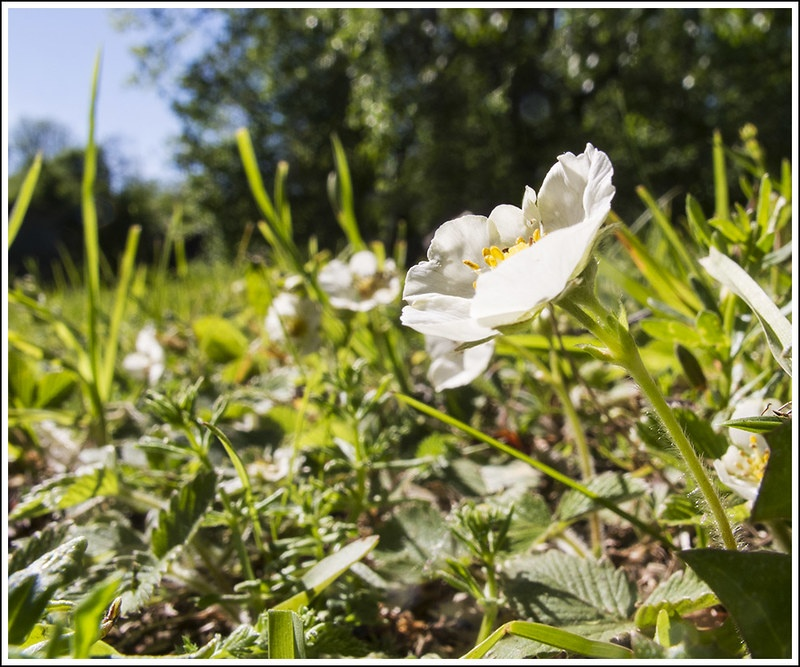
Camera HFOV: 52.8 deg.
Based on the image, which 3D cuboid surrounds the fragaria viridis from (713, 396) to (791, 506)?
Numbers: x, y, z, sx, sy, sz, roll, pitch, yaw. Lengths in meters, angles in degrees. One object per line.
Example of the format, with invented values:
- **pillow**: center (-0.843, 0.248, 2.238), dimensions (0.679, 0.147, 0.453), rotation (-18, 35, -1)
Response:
- **fragaria viridis**: center (0.477, 0.150, 1.102), dimensions (0.085, 0.166, 0.201), rotation (-8, 16, 26)
